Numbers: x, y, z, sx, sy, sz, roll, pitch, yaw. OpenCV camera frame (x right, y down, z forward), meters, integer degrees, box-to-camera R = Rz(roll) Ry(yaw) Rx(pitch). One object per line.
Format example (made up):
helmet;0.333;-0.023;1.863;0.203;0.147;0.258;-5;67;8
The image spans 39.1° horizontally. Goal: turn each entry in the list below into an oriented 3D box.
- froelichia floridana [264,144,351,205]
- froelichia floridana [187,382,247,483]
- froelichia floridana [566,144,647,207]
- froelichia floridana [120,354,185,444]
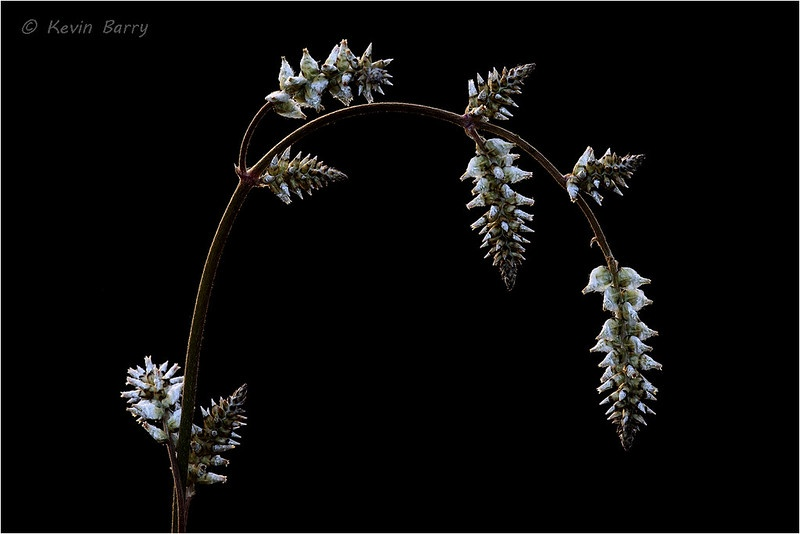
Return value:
froelichia floridana;-0.365;-0.332;4.099;0.323;0.168;0.111;0;-35;0
froelichia floridana;-0.678;0.624;4.161;0.170;0.286;0.313;13;-38;-18
froelichia floridana;0.726;-0.323;4.022;0.157;0.181;0.265;28;-44;-34
froelichia floridana;-0.895;0.491;4.139;0.225;0.322;0.191;18;-38;-24
